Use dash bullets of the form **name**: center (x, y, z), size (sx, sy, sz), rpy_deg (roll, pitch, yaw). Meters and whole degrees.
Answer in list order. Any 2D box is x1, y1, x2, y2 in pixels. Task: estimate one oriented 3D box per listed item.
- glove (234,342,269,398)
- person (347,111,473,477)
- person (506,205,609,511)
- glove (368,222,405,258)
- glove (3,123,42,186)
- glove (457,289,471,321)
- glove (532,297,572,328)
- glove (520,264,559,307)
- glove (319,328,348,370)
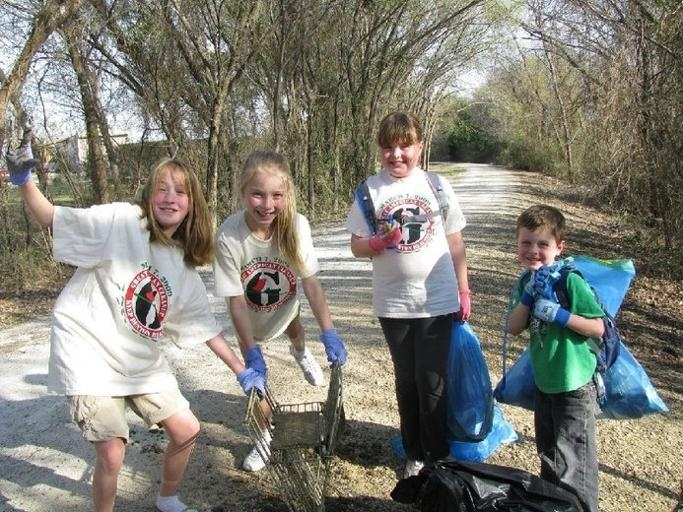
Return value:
- **glove**: center (-0.668, 0.863, 4.333), size (0.191, 0.374, 0.118), rpy_deg (6, -22, -32)
- **person**: center (0.558, 0.327, 4.486), size (0.933, 2.849, 0.533), rpy_deg (-1, 9, 6)
- **person**: center (1.549, 0.705, 4.131), size (0.723, 2.082, 0.633), rpy_deg (6, 12, 41)
- **glove**: center (0.334, -0.119, 4.303), size (0.211, 0.283, 0.154), rpy_deg (-6, 1, 16)
- **glove**: center (-2.408, -0.734, 4.297), size (0.194, 0.421, 1.124), rpy_deg (-7, 11, -29)
- **glove**: center (1.022, 0.395, 4.630), size (0.070, 0.250, 0.159), rpy_deg (3, 8, -15)
- **glove**: center (1.510, 0.402, 4.073), size (0.255, 0.199, 0.111), rpy_deg (3, 10, 28)
- **glove**: center (1.436, 0.240, 4.141), size (0.113, 0.298, 0.200), rpy_deg (12, -18, -33)
- **glove**: center (-0.032, 0.678, 4.481), size (0.111, 0.299, 0.193), rpy_deg (-29, -27, -11)
